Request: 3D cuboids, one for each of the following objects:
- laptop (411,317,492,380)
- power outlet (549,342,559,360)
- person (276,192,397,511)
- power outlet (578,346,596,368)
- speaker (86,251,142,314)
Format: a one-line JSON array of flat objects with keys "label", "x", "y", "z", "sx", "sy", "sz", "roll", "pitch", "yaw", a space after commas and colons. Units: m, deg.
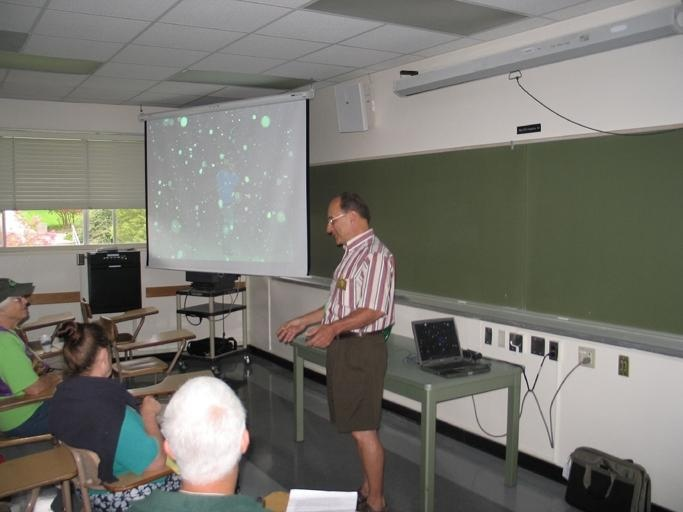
[{"label": "laptop", "x": 0.712, "y": 0.560, "z": 3.267, "sx": 0.389, "sy": 0.291, "sz": 0.385, "roll": -2, "pitch": 2, "yaw": -31}, {"label": "power outlet", "x": 1.506, "y": 0.665, "z": 3.420, "sx": 0.014, "sy": 0.137, "sz": 0.076, "roll": -6, "pitch": 6, "yaw": -38}, {"label": "person", "x": 0.084, "y": 0.629, "z": 3.151, "sx": 0.533, "sy": 2.078, "sz": 0.452, "roll": -2, "pitch": 5, "yaw": 7}, {"label": "power outlet", "x": 1.669, "y": 0.681, "z": 3.267, "sx": 0.075, "sy": 0.158, "sz": 0.148, "roll": -1, "pitch": 0, "yaw": -33}, {"label": "speaker", "x": -2.857, "y": 0.317, "z": 5.954, "sx": 0.669, "sy": 0.913, "sz": 0.477, "roll": -3, "pitch": 6, "yaw": -30}]
